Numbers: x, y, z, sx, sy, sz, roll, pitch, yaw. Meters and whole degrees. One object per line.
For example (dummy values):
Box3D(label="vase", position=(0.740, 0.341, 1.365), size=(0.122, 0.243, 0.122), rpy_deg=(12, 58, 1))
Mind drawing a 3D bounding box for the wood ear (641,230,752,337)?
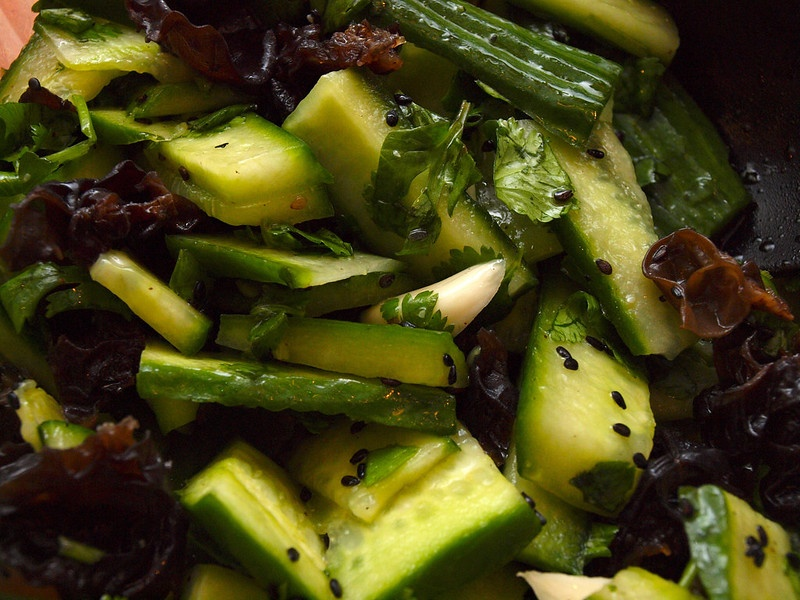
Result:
Box3D(label="wood ear", position=(0.675, -0.042, 2.040), size=(0.222, 0.095, 0.258), rpy_deg=(-40, 83, 5))
